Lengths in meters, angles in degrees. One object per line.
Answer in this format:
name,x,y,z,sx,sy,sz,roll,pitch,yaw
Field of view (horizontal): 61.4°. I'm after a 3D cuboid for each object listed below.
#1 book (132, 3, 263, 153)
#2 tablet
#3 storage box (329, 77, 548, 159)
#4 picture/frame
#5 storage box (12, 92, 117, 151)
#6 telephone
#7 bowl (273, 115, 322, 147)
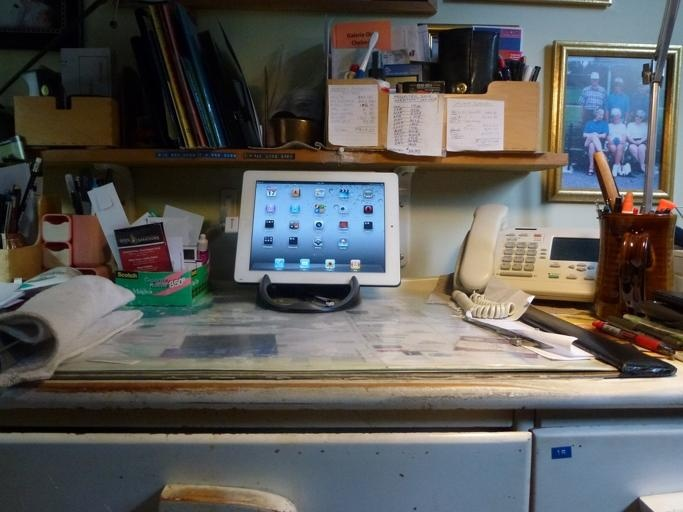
book,-0.364,-0.434,1.515,0.119,0.381,0.289,-6,10,12
tablet,-0.058,-0.065,1.466,0.315,0.220,0.025,0,-12,0
storage box,0.236,-0.356,1.489,0.547,0.198,0.070,-1,17,-1
picture/frame,0.758,-0.399,1.625,0.521,0.595,0.045,2,-1,-1
storage box,-0.716,-0.343,1.422,0.204,0.101,0.141,0,7,-1
telephone,0.500,-0.020,1.485,0.304,0.124,0.230,5,36,20
bowl,-0.119,-0.320,1.514,0.089,0.052,0.090,0,7,0
